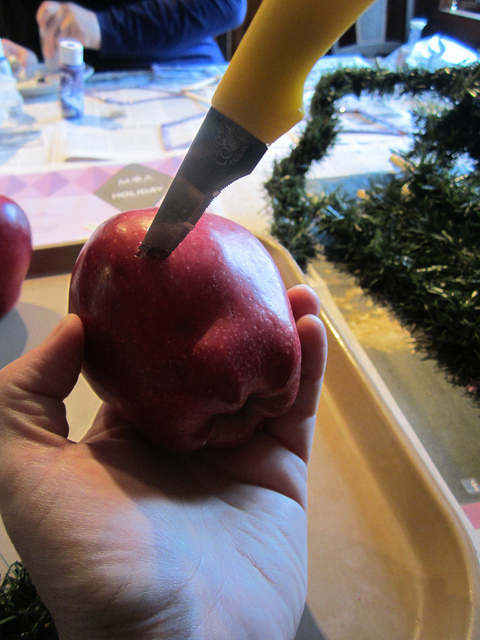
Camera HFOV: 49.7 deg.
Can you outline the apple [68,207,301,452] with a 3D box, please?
[{"bbox_3d":[-0.075,0.002,0.575,0.223,0.232,0.261,-21,56,8],"label":"apple"}]
